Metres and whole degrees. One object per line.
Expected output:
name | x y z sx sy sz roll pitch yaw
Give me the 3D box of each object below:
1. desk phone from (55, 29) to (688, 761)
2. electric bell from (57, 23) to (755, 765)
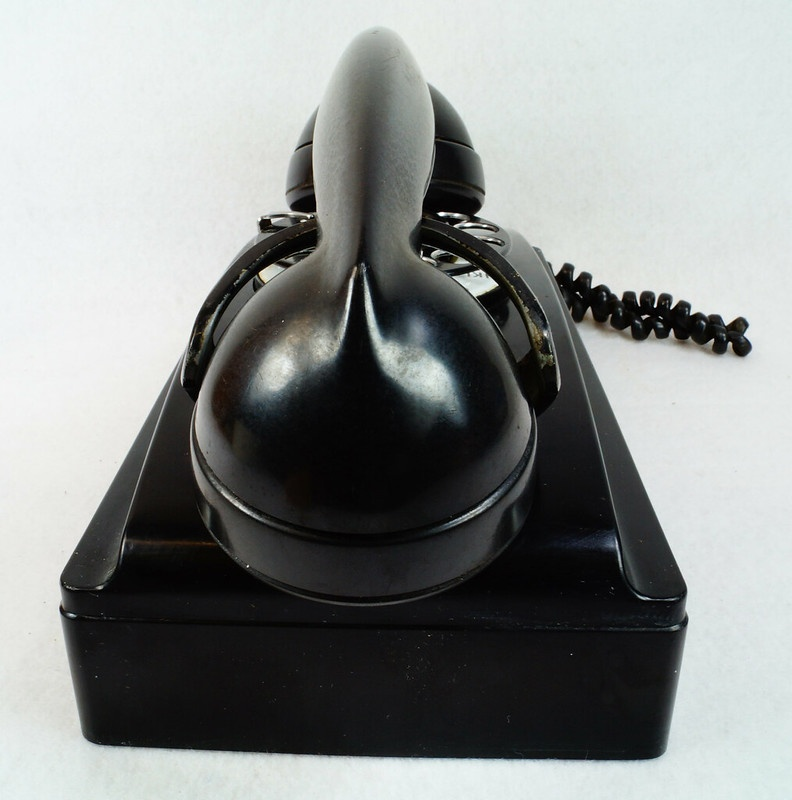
desk phone | -0.014 -0.060 0.667 0.260 0.333 0.487 0 29 -1
electric bell | 0.002 0.056 0.693 0.327 0.312 0.467 0 31 -2
